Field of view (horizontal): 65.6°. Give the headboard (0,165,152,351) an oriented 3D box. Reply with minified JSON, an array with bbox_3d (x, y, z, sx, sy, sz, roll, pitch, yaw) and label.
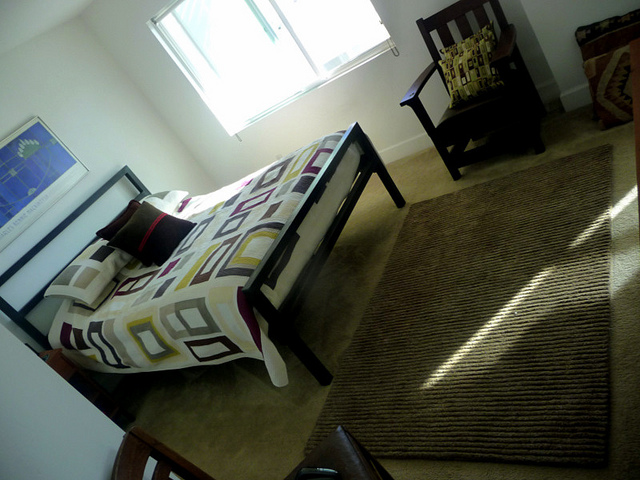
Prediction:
[{"bbox_3d":[-1.724,0.222,3.957,1.138,0.283,1.074,-40,60,-9],"label":"headboard"}]

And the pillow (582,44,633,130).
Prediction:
[{"bbox_3d":[1.718,-0.886,2.909,0.230,0.431,0.202,-15,30,30],"label":"pillow"}]

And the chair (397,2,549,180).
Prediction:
[{"bbox_3d":[1.053,-1.067,3.380,0.769,0.981,0.783,-16,30,29],"label":"chair"}]

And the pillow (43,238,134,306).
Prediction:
[{"bbox_3d":[-1.584,0.174,3.538,0.388,0.193,0.672,9,44,19],"label":"pillow"}]

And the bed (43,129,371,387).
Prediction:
[{"bbox_3d":[-0.917,0.209,3.061,1.764,0.700,1.892,-10,44,35],"label":"bed"}]

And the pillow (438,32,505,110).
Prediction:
[{"bbox_3d":[1.079,-1.130,3.426,0.559,0.184,0.595,-21,-7,16],"label":"pillow"}]
